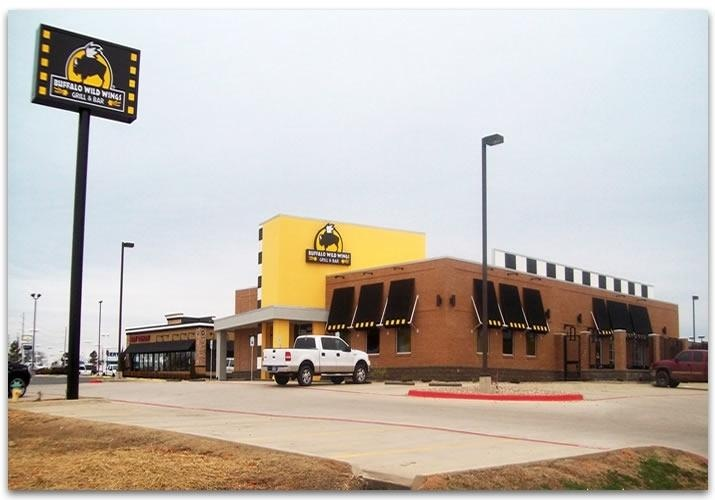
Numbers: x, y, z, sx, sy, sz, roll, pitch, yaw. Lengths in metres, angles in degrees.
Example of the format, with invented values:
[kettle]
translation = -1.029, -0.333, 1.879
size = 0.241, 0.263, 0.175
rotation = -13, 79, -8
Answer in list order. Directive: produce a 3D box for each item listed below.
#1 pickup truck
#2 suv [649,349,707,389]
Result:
[pickup truck]
translation = -2.279, 5.580, 32.467
size = 4.754, 2.126, 2.619
rotation = 2, -5, -37
[suv]
translation = 17.253, 6.294, 33.699
size = 2.777, 1.490, 1.538
rotation = -4, -10, 40
